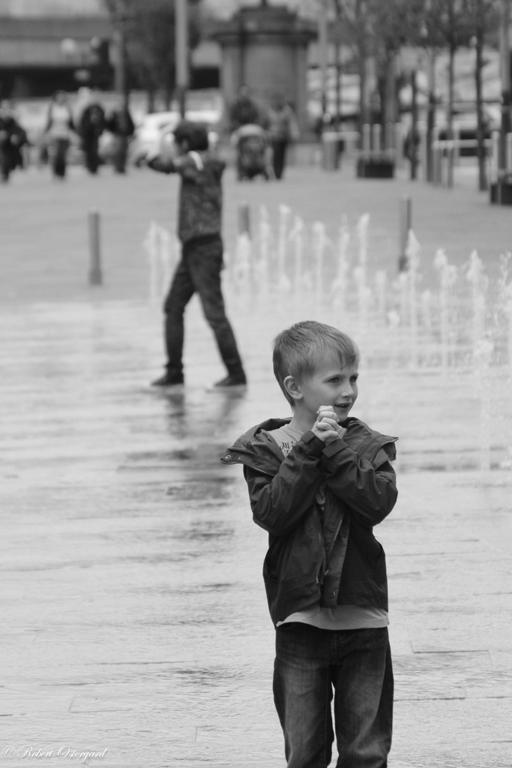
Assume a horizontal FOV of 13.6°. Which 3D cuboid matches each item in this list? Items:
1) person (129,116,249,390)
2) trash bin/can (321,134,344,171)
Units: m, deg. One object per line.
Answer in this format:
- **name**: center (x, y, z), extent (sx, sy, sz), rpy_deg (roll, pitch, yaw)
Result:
- **person**: center (-0.302, -0.651, 10.453), extent (0.501, 1.307, 0.274), rpy_deg (4, 10, 24)
- **trash bin/can**: center (0.380, -1.161, 10.611), extent (0.120, 0.271, 0.139), rpy_deg (-1, 6, -9)
